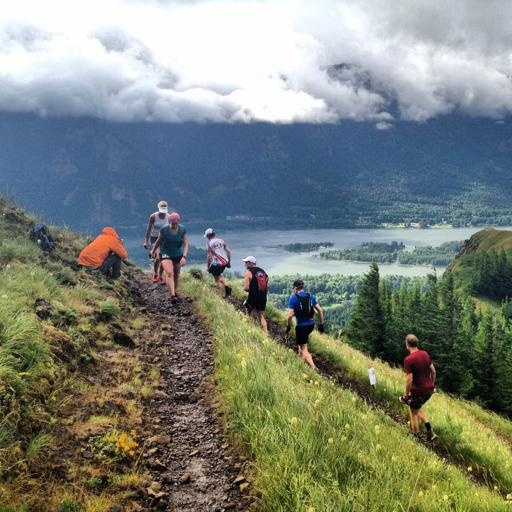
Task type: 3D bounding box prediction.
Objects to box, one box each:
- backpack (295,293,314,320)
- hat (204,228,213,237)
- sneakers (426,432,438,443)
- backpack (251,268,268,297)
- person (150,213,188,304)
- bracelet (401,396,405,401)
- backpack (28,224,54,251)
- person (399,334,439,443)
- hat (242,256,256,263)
[{"bbox_3d":[1.162,1.239,13.196,0.461,0.826,0.384,-1,-9,-9],"label":"backpack"},{"bbox_3d":[-1.562,-0.743,16.937,0.346,0.257,0.287,-6,5,20],"label":"hat"},{"bbox_3d":[3.721,3.871,11.378,0.207,0.229,0.248,0,39,21],"label":"sneakers"},{"bbox_3d":[0.155,0.673,14.523,0.383,0.730,0.545,1,2,45],"label":"backpack"},{"bbox_3d":[-2.342,0.044,14.853,0.828,2.583,1.219,-5,13,-27],"label":"person"},{"bbox_3d":[3.133,3.071,11.474,0.068,0.057,0.103,-7,7,-8],"label":"bracelet"},{"bbox_3d":[-6.190,-0.519,15.363,0.342,0.758,0.469,-17,10,39],"label":"backpack"},{"bbox_3d":[3.472,2.813,11.548,0.684,2.226,0.483,0,2,19],"label":"person"},{"bbox_3d":[-0.192,0.094,14.556,0.234,0.168,0.186,9,3,10],"label":"hat"}]
